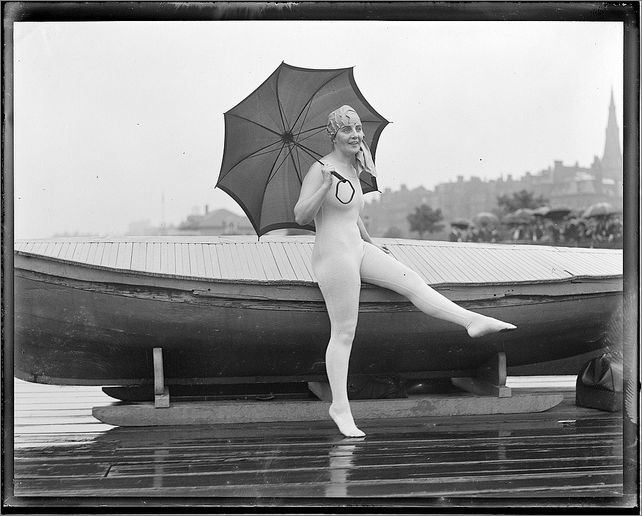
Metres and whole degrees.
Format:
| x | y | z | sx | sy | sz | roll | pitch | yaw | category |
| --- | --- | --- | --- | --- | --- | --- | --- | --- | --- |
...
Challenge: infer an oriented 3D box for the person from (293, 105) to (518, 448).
| x | y | z | sx | sy | sz | roll | pitch | yaw | category |
| --- | --- | --- | --- | --- | --- | --- | --- | --- | --- |
| 0.242 | 0.041 | 4.574 | 0.708 | 1.406 | 0.357 | -1 | -6 | -8 | person |

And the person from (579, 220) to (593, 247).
| x | y | z | sx | sy | sz | roll | pitch | yaw | category |
| --- | --- | --- | --- | --- | --- | --- | --- | --- | --- |
| 3.714 | -0.339 | 15.304 | 0.194 | 0.432 | 1.275 | -3 | -6 | 13 | person |

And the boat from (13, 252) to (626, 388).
| x | y | z | sx | sy | sz | roll | pitch | yaw | category |
| --- | --- | --- | --- | --- | --- | --- | --- | --- | --- |
| 0.491 | 0.311 | 5.244 | 3.829 | 0.742 | 0.892 | 1 | 3 | -11 | boat |
